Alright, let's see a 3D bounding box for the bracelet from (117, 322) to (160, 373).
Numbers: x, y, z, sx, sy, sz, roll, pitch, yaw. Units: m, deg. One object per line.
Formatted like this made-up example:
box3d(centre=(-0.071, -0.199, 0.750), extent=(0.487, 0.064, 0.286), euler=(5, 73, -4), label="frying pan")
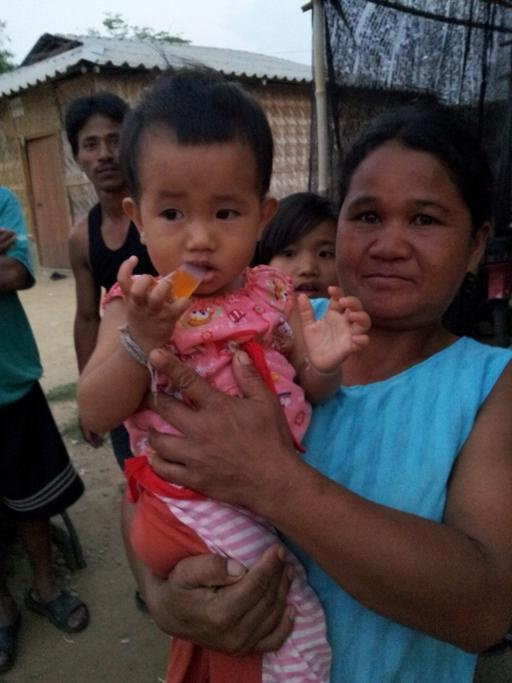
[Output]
box3d(centre=(-0.302, 0.014, 1.474), extent=(0.034, 0.102, 0.085), euler=(-34, -9, 16), label="bracelet")
